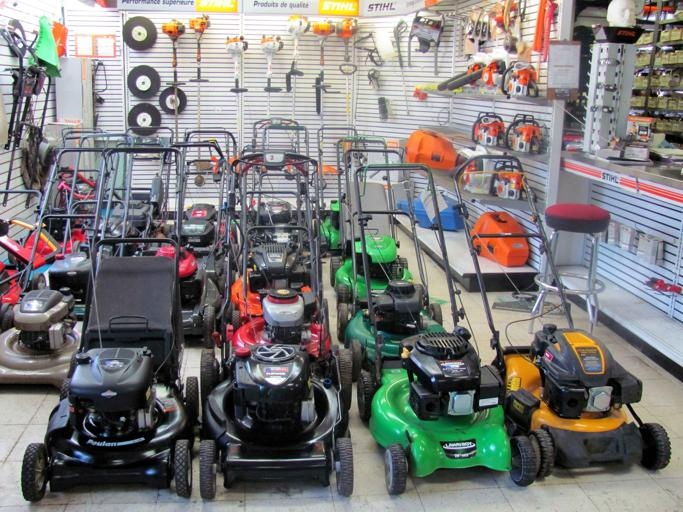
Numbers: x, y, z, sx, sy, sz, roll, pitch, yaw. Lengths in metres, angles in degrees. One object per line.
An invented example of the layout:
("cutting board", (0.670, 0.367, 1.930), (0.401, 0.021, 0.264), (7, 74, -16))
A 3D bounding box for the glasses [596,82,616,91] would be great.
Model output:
("glasses", (2.446, -1.563, 4.771), (0.122, 0.071, 0.045), (-3, -20, 8))

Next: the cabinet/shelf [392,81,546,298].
("cabinet/shelf", (1.750, -1.254, 7.245), (1.164, 2.684, 3.747), (-2, 12, 3))

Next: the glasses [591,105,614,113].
("glasses", (2.444, -1.376, 4.853), (0.192, 0.071, 0.051), (2, 13, 24))
